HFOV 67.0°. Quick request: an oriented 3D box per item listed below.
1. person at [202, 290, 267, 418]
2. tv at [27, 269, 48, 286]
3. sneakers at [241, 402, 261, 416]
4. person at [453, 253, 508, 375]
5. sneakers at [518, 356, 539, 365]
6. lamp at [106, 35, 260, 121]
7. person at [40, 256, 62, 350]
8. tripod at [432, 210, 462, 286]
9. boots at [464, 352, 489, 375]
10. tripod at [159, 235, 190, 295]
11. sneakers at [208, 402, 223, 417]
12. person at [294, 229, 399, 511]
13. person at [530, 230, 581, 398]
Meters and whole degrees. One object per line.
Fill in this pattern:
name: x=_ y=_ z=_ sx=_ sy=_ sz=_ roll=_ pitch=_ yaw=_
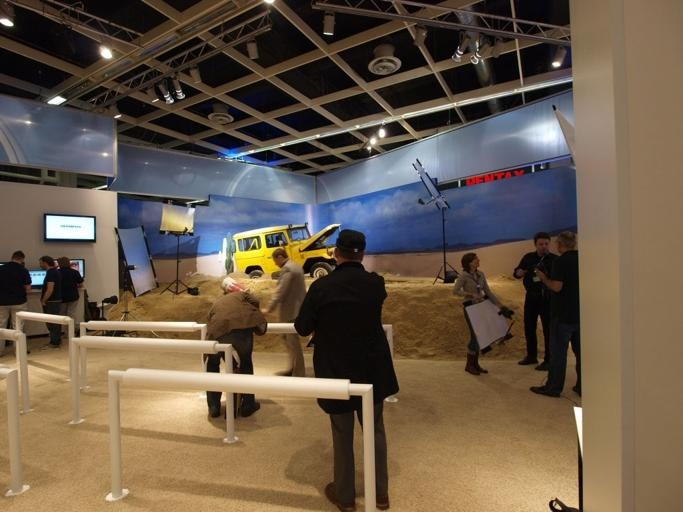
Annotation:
person: x=-1.264 y=1.117 z=5.992 sx=0.862 sy=1.330 sz=0.815 roll=9 pitch=14 yaw=41
tv: x=-5.849 y=0.403 z=9.877 sx=0.182 sy=0.316 sz=0.337 roll=-4 pitch=-3 yaw=43
sneakers: x=-1.040 y=1.742 z=5.896 sx=0.086 sy=0.108 sz=0.257 roll=1 pitch=2 yaw=18
person: x=2.000 y=0.833 z=7.478 sx=0.742 sy=1.746 sz=1.037 roll=2 pitch=11 yaw=12
sneakers: x=2.747 y=1.543 z=7.649 sx=0.320 sy=0.134 sz=0.109 roll=2 pitch=-11 yaw=-11
lamp: x=-3.502 y=-3.576 z=10.446 sx=5.359 sy=1.306 sz=1.737 roll=9 pitch=15 yaw=43
person: x=-5.436 y=0.856 z=9.685 sx=0.356 sy=1.647 sz=0.750 roll=-6 pitch=12 yaw=-28
tripod: x=2.565 y=-0.259 z=12.581 sx=0.498 sy=1.981 sz=2.054 roll=2 pitch=11 yaw=10
boots: x=1.903 y=1.531 z=7.274 sx=0.312 sy=0.291 sz=0.248 roll=-3 pitch=-6 yaw=21
tripod: x=-4.484 y=0.159 z=13.726 sx=0.623 sy=1.658 sz=2.918 roll=-4 pitch=11 yaw=-16
sneakers: x=-1.463 y=1.729 z=5.861 sx=0.189 sy=0.163 sz=0.157 roll=1 pitch=11 yaw=6
person: x=0.058 y=0.966 z=4.431 sx=0.840 sy=2.318 sz=0.869 roll=0 pitch=11 yaw=2
person: x=2.630 y=0.706 z=6.199 sx=0.550 sy=1.985 sz=0.468 roll=4 pitch=12 yaw=21
